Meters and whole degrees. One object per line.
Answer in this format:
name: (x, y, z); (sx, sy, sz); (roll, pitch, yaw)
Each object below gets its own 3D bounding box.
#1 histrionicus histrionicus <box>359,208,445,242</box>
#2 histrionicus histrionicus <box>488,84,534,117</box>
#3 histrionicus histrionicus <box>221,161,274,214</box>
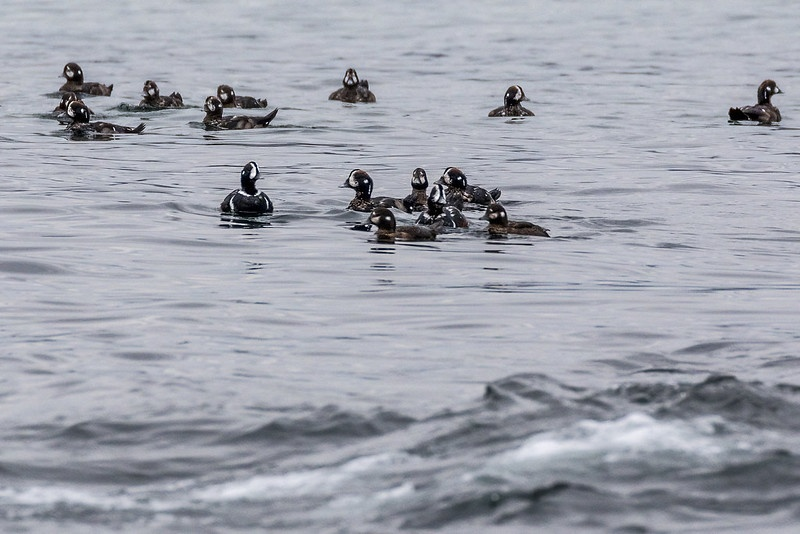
histrionicus histrionicus: (-0.004, -0.681, 16.782); (1.186, 0.455, 0.623); (5, 16, 13)
histrionicus histrionicus: (3.259, -4.817, 30.040); (1.214, 0.918, 0.814); (6, 18, 12)
histrionicus histrionicus: (-2.727, -1.404, 18.261); (0.943, 0.915, 0.589); (8, 20, 17)
